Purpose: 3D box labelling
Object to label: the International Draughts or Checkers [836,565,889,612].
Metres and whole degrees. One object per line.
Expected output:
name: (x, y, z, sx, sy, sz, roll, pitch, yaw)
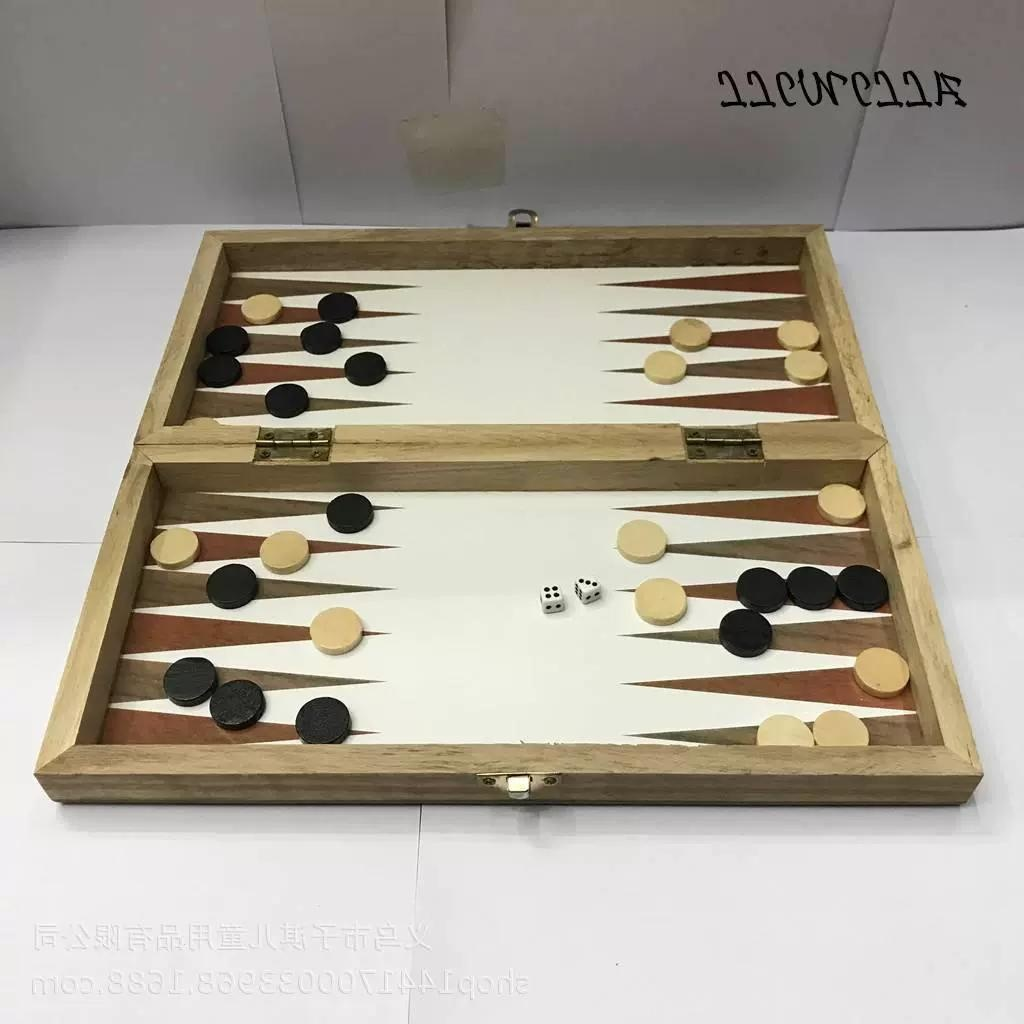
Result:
International Draughts or Checkers: (0.603, 0.129, 1.925, 0.095, 0.073, 0.019, -3, -37, 4)
